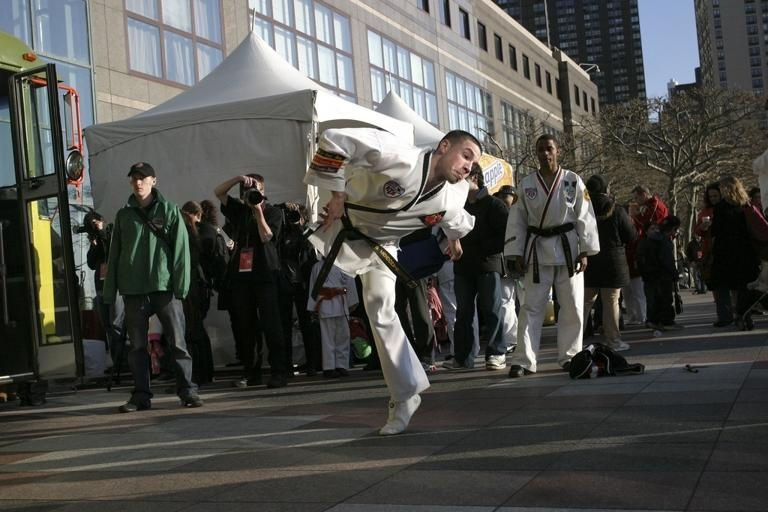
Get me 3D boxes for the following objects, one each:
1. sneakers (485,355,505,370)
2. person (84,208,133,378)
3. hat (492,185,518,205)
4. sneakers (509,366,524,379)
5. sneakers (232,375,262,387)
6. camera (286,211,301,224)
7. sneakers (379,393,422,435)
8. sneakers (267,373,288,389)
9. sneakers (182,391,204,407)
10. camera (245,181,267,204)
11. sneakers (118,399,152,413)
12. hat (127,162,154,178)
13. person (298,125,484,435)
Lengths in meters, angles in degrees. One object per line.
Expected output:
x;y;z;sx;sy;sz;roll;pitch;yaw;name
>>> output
1.454;1.355;11.392;0.298;0.196;0.241;-4;-4;-17;sneakers
-3.746;0.531;12.085;0.870;0.830;2.662;-8;38;-16;person
1.859;-0.943;13.442;0.397;0.148;0.424;7;0;4;hat
1.586;1.371;10.624;0.172;0.136;0.212;-7;-4;20;sneakers
-1.859;1.632;11.644;0.468;0.171;0.144;3;-9;10;sneakers
-1.221;-0.517;11.725;0.174;0.149;0.154;12;-9;12;camera
0.134;1.522;8.536;0.194;0.260;0.607;-20;4;35;sneakers
-1.375;1.577;11.295;0.249;0.166;0.273;-5;-4;-8;sneakers
-2.249;1.672;10.345;0.259;0.165;0.217;-5;-4;-12;sneakers
-1.625;-0.758;11.013;0.241;0.250;0.226;-5;-4;-9;camera
-2.909;1.751;10.353;0.126;0.126;0.340;-10;-15;36;sneakers
-2.886;-1.033;10.631;0.265;0.161;0.335;0;-9;6;hat
0.158;0.218;8.558;1.629;2.919;0.955;-6;-5;-7;person
